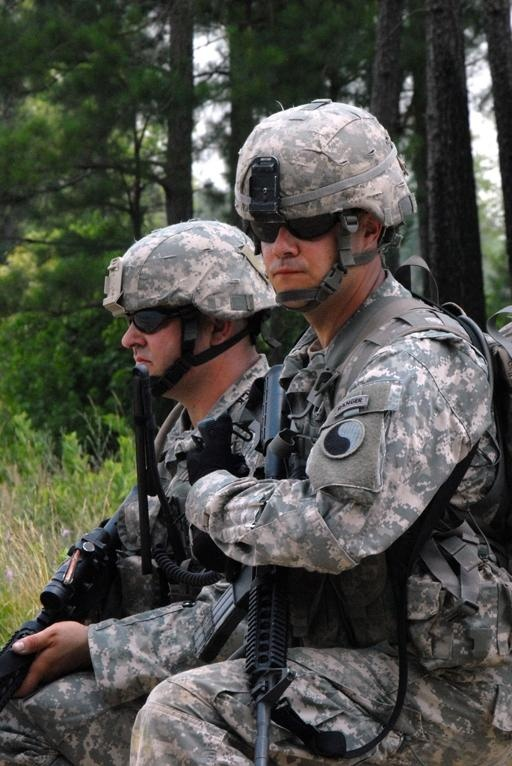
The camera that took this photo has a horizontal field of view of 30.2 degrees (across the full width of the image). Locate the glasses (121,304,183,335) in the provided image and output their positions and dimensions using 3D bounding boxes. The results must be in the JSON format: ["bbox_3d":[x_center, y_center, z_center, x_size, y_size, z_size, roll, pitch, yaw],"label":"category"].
[{"bbox_3d":[-0.402,-0.244,3.668,0.124,0.127,0.044,-6,11,23],"label":"glasses"}]

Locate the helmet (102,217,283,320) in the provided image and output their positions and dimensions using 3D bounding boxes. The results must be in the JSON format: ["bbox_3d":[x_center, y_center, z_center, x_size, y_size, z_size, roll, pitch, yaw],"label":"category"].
[{"bbox_3d":[-0.249,-0.431,3.787,0.568,0.302,0.431,-6,-3,-34],"label":"helmet"}]

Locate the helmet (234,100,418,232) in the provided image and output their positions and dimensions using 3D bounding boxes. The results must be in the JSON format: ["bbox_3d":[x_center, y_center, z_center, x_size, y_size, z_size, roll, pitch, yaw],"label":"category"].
[{"bbox_3d":[0.217,-0.612,2.787,0.420,0.299,0.425,-3,7,35],"label":"helmet"}]
